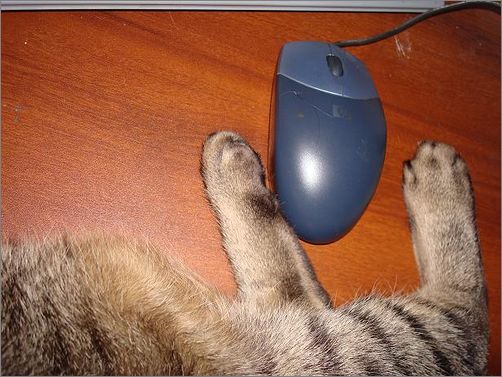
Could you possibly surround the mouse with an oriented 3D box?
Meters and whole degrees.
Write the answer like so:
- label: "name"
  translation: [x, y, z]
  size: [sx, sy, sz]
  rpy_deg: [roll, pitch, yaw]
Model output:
- label: "mouse"
  translation: [0.128, -0.084, 0.886]
  size: [0.179, 0.346, 0.110]
  rpy_deg: [10, -14, -20]
